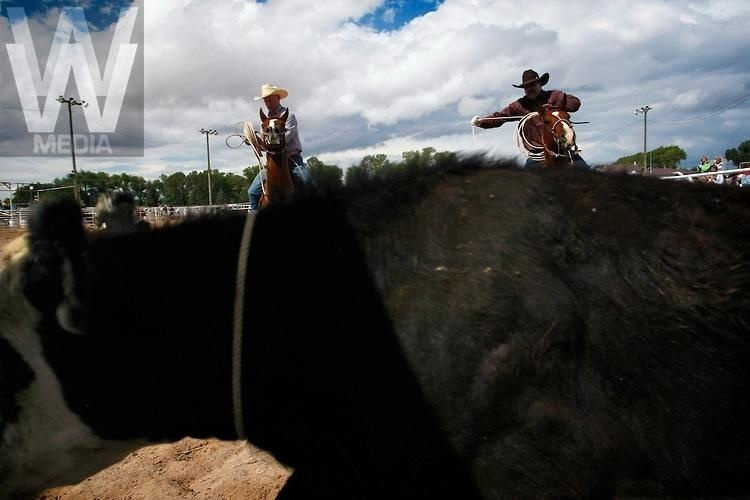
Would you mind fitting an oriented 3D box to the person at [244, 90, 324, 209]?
[{"bbox_3d":[-1.482,-1.504,7.817,1.054,2.253,0.907,-7,2,1],"label":"person"}]
